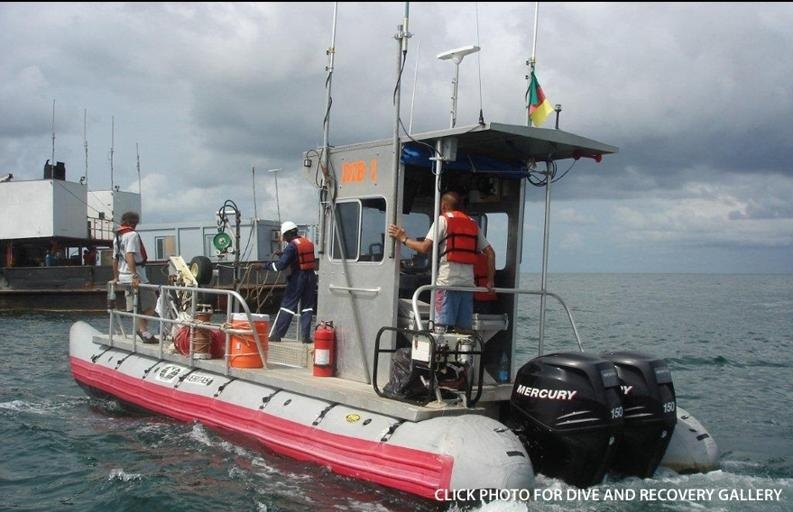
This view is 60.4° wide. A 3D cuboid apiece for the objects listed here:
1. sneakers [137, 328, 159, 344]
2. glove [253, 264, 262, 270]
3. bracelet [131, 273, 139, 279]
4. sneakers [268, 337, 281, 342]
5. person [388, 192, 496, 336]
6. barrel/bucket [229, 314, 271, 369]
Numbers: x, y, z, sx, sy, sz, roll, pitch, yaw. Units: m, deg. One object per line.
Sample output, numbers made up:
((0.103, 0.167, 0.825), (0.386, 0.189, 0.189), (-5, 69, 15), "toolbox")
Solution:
((-4.766, 1.466, 12.891), (0.225, 0.151, 0.554), (-3, 10, -39), "sneakers")
((-2.391, 0.164, 11.771), (0.144, 0.062, 0.195), (2, 1, -1), "glove")
((-4.642, 0.340, 12.085), (0.089, 0.055, 0.100), (11, -12, -40), "bracelet")
((-2.127, 1.445, 11.907), (0.204, 0.081, 0.072), (2, 1, -8), "sneakers")
((0.812, 0.056, 9.875), (1.603, 2.000, 0.749), (1, 1, -36), "person")
((-2.393, 1.360, 11.052), (0.728, 0.822, 0.737), (-1, -2, 0), "barrel/bucket")
